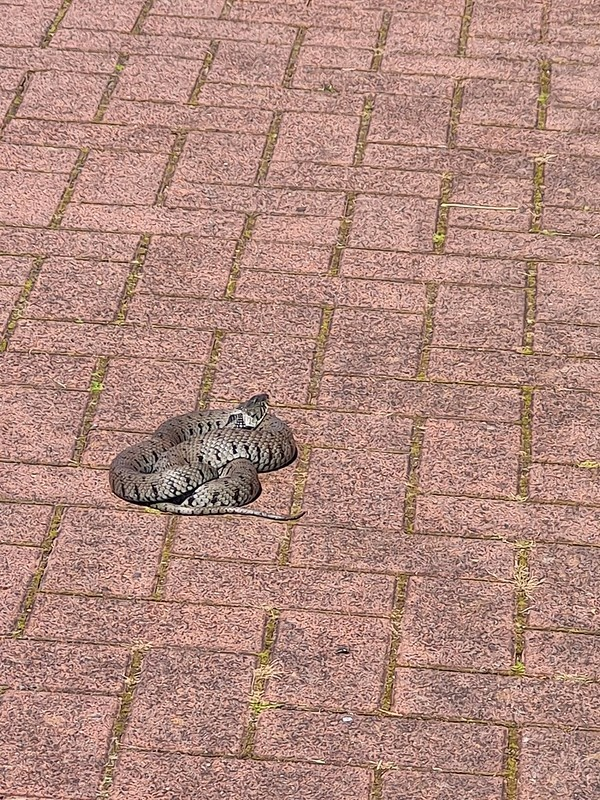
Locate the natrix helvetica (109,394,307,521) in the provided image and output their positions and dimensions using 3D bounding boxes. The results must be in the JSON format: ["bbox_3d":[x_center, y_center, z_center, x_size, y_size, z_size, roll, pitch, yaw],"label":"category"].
[{"bbox_3d":[-0.291,0.247,4.414,0.908,0.186,0.822,14,31,24],"label":"natrix helvetica"}]
